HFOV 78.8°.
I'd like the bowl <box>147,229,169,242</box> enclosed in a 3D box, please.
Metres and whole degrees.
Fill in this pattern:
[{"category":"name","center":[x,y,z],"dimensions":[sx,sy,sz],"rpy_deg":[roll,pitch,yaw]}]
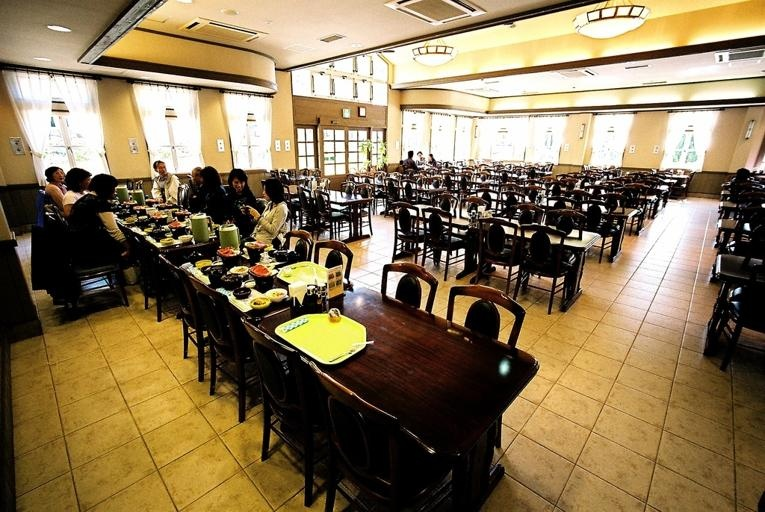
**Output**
[{"category":"bowl","center":[-3.160,-0.301,6.537],"dimensions":[0.273,0.087,0.243],"rpy_deg":[13,22,3]}]

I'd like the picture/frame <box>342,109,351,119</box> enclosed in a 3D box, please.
[{"category":"picture/frame","center":[-1.121,-4.252,13.891],"dimensions":[0.047,0.217,0.336],"rpy_deg":[10,16,32]}]

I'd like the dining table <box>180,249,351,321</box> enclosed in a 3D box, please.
[{"category":"dining table","center":[-1.221,0.303,5.358],"dimensions":[0.762,0.276,1.282],"rpy_deg":[22,29,39]}]

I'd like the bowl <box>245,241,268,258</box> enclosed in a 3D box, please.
[{"category":"bowl","center":[-1.619,-0.074,5.844],"dimensions":[0.248,0.156,0.228],"rpy_deg":[1,10,0]}]

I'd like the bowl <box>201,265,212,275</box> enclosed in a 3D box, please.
[{"category":"bowl","center":[-2.122,0.162,5.558],"dimensions":[0.145,0.046,0.117],"rpy_deg":[-6,18,-19]}]

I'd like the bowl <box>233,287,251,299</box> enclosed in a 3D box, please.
[{"category":"bowl","center":[-1.580,0.409,5.189],"dimensions":[0.142,0.066,0.137],"rpy_deg":[1,28,-1]}]

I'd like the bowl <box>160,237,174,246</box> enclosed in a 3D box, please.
[{"category":"bowl","center":[-2.929,-0.188,6.303],"dimensions":[0.162,0.083,0.126],"rpy_deg":[-6,16,-23]}]

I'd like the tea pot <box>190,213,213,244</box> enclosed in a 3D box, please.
[{"category":"tea pot","center":[-2.516,-0.366,6.421],"dimensions":[0.214,0.365,0.157],"rpy_deg":[-9,19,-29]}]

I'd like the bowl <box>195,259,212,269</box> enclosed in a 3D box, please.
[{"category":"bowl","center":[-2.217,0.100,5.707],"dimensions":[0.137,0.039,0.131],"rpy_deg":[-6,10,1]}]

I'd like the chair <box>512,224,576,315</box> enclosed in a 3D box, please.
[{"category":"chair","center":[2.343,0.179,6.759],"dimensions":[0.902,1.382,0.939],"rpy_deg":[17,35,40]}]

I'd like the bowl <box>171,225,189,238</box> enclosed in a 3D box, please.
[{"category":"bowl","center":[-2.897,-0.355,6.615],"dimensions":[0.228,0.122,0.197],"rpy_deg":[3,11,14]}]

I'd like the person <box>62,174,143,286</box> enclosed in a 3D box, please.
[{"category":"person","center":[-4.026,-0.447,6.585],"dimensions":[0.729,1.379,0.330],"rpy_deg":[-7,18,-25]}]

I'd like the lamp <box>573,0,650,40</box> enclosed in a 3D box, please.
[{"category":"lamp","center":[4.039,-4.068,8.187],"dimensions":[0.909,0.440,0.923],"rpy_deg":[4,13,31]}]

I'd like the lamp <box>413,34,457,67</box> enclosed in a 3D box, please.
[{"category":"lamp","center":[1.017,-4.207,9.634],"dimensions":[0.638,0.370,0.734],"rpy_deg":[-6,16,-23]}]

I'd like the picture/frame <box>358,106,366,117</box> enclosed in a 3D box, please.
[{"category":"picture/frame","center":[-0.663,-4.459,14.366],"dimensions":[0.078,0.271,0.343],"rpy_deg":[9,11,44]}]

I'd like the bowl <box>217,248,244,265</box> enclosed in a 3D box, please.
[{"category":"bowl","center":[-1.844,0.004,5.628],"dimensions":[0.243,0.150,0.229],"rpy_deg":[2,14,-1]}]

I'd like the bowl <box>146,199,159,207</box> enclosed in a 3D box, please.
[{"category":"bowl","center":[-4.081,-0.933,8.226],"dimensions":[0.229,0.072,0.193],"rpy_deg":[0,11,-17]}]

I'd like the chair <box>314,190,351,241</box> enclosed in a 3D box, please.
[{"category":"chair","center":[-1.032,-0.828,9.282],"dimensions":[0.708,1.023,0.888],"rpy_deg":[-4,16,-15]}]

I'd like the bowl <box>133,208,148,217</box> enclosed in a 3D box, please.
[{"category":"bowl","center":[-3.968,-0.710,7.617],"dimensions":[0.142,0.126,0.103],"rpy_deg":[21,27,37]}]

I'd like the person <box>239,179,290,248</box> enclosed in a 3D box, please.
[{"category":"person","center":[-1.786,-0.452,6.787],"dimensions":[0.829,1.277,0.694],"rpy_deg":[1,17,-20]}]

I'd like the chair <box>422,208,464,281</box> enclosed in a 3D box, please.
[{"category":"chair","center":[1.033,-0.295,7.913],"dimensions":[0.717,1.163,1.094],"rpy_deg":[2,16,7]}]

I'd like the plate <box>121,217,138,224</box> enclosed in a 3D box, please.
[{"category":"plate","center":[-3.957,-0.558,7.274],"dimensions":[0.198,0.066,0.199],"rpy_deg":[17,23,38]}]

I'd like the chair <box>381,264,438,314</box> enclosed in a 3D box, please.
[{"category":"chair","center":[0.312,0.417,5.616],"dimensions":[0.443,0.679,0.448],"rpy_deg":[22,35,30]}]

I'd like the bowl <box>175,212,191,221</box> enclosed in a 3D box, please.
[{"category":"bowl","center":[-3.130,-0.618,7.233],"dimensions":[0.208,0.085,0.201],"rpy_deg":[1,3,0]}]
